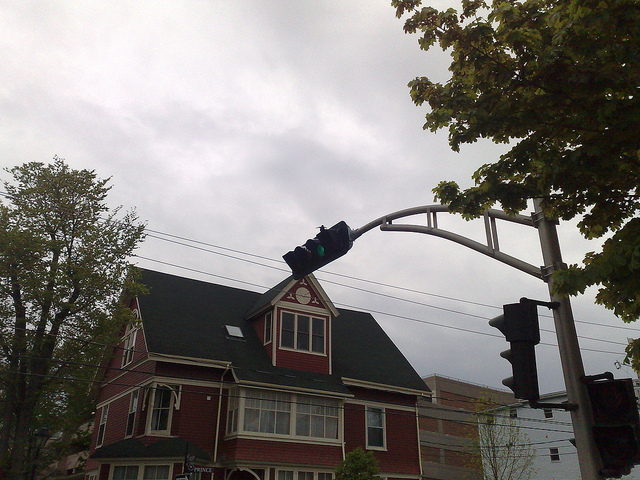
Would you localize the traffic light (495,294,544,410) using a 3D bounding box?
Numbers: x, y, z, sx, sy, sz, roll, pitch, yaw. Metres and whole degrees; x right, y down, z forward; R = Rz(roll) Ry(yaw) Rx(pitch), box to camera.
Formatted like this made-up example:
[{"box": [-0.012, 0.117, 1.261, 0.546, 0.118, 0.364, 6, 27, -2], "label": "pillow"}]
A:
[{"box": [3.098, 1.728, 8.918, 0.605, 1.559, 0.888, -4, -30, 10], "label": "traffic light"}]

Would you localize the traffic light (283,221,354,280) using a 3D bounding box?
[{"box": [-0.063, 0.256, 12.614, 1.429, 1.132, 0.633, -15, -34, 27], "label": "traffic light"}]
